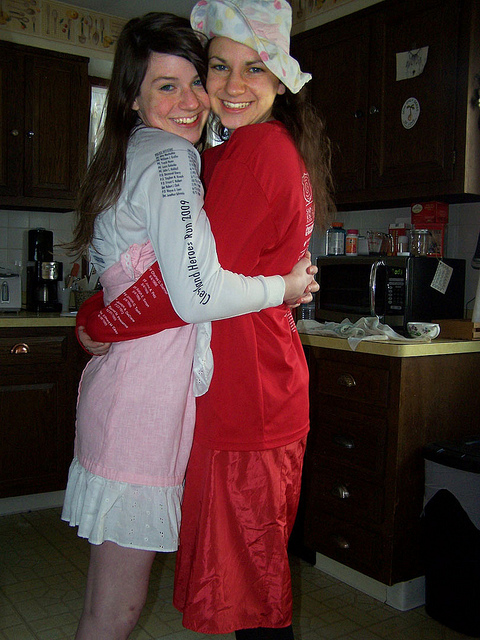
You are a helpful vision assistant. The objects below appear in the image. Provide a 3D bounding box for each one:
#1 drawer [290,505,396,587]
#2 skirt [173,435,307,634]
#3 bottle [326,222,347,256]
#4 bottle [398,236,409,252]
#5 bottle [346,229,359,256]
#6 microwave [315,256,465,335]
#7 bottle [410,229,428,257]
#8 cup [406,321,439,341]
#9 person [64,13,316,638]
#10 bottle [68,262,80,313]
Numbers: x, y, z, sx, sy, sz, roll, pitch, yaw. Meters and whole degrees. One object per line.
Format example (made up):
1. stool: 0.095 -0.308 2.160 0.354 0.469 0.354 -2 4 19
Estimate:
1. drawer: 0.469 0.841 1.878 0.246 0.248 0.385 10 -9 -34
2. skirt: 0.000 0.307 0.884 0.218 0.433 0.309 4 -4 -12
3. bottle: 0.504 -0.422 2.523 0.101 0.169 0.222 1 6 12
4. bottle: 0.785 -0.368 2.328 0.056 0.074 0.018 -3 6 -21
5. bottle: 0.566 -0.394 2.457 0.055 0.131 0.210 1 6 12
6. microwave: 0.639 -0.141 2.294 0.384 0.339 0.577 -1 5 -35
7. bottle: 0.831 -0.366 2.258 0.071 0.121 0.109 1 6 13
8. cup: 0.704 0.040 1.882 0.113 0.063 0.272 2 7 19
9. person: -0.112 -0.028 0.743 0.316 0.917 0.376 -4 7 -37
10. bottle: -1.039 -0.219 3.025 0.061 0.275 0.061 12 24 -6
